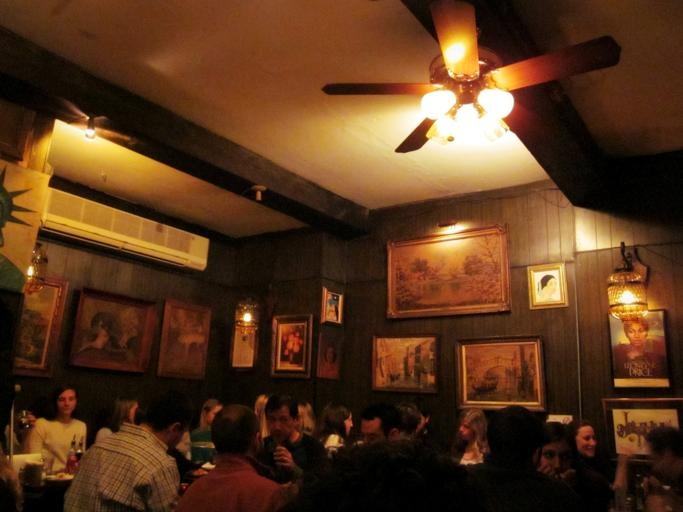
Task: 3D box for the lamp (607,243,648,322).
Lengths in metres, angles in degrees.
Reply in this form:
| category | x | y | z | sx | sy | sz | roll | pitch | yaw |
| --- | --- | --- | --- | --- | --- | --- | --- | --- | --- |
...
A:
| category | x | y | z | sx | sy | sz | roll | pitch | yaw |
| --- | --- | --- | --- | --- | --- | --- | --- | --- | --- |
| lamp | 2.969 | 0.235 | 5.466 | 0.380 | 0.836 | 0.364 | -6 | -18 | 29 |

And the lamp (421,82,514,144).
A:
| category | x | y | z | sx | sy | sz | roll | pitch | yaw |
| --- | --- | --- | --- | --- | --- | --- | --- | --- | --- |
| lamp | 0.921 | -1.136 | 3.926 | 0.538 | 0.157 | 0.568 | 17 | -36 | -12 |
